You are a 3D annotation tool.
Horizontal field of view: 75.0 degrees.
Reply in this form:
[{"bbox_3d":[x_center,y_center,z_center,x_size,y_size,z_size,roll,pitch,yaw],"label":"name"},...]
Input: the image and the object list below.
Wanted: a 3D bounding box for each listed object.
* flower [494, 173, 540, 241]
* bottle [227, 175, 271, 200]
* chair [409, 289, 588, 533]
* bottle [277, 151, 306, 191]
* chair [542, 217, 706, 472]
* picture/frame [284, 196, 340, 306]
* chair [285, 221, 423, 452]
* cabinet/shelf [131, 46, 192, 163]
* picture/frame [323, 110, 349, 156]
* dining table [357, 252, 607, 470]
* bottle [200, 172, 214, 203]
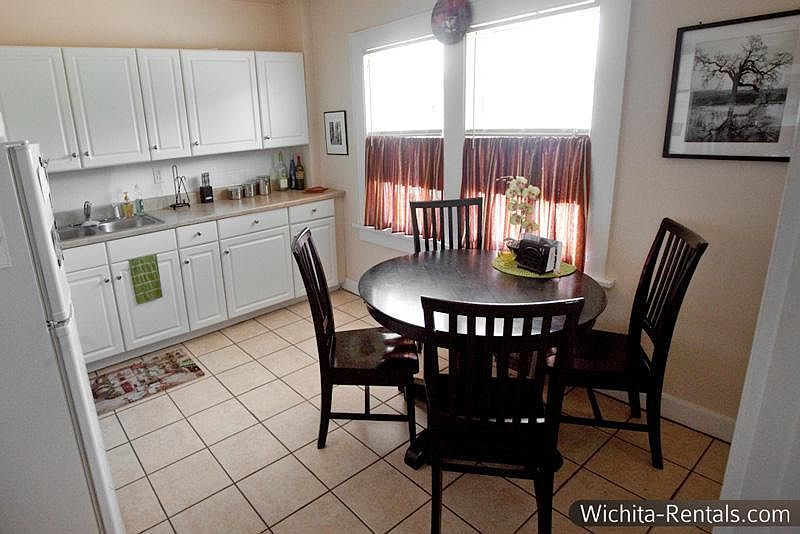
[{"bbox_3d":[0.782,-0.347,3.406,0.256,0.439,0.182,5,9,7],"label":"flower"},{"bbox_3d":[-1.418,-0.741,4.943,0.156,0.191,0.495,15,21,39],"label":"bottle"},{"bbox_3d":[0.483,0.718,2.643,0.711,1.319,0.572,-2,19,2],"label":"chair"},{"bbox_3d":[-1.088,-0.957,5.190,0.281,0.356,0.201,-6,20,-11],"label":"bottle"},{"bbox_3d":[1.220,0.434,3.115,0.880,1.334,0.868,-11,20,-39],"label":"chair"},{"bbox_3d":[-0.698,-0.060,5.172,0.548,1.025,0.640,-14,-25,16],"label":"picture/frame"},{"bbox_3d":[-0.285,0.475,3.211,0.780,1.245,0.660,4,15,-8],"label":"chair"},{"bbox_3d":[-1.917,-1.317,4.257,0.369,0.845,0.113,-1,9,13],"label":"cabinet/shelf"},{"bbox_3d":[-0.611,-1.275,4.952,0.076,0.414,0.354,-16,24,-34],"label":"picture/frame"},{"bbox_3d":[0.327,0.115,3.186,1.341,0.962,1.313,-12,26,-24],"label":"dining table"},{"bbox_3d":[-1.774,-0.729,4.763,0.106,0.258,0.193,-2,19,2],"label":"bottle"}]
